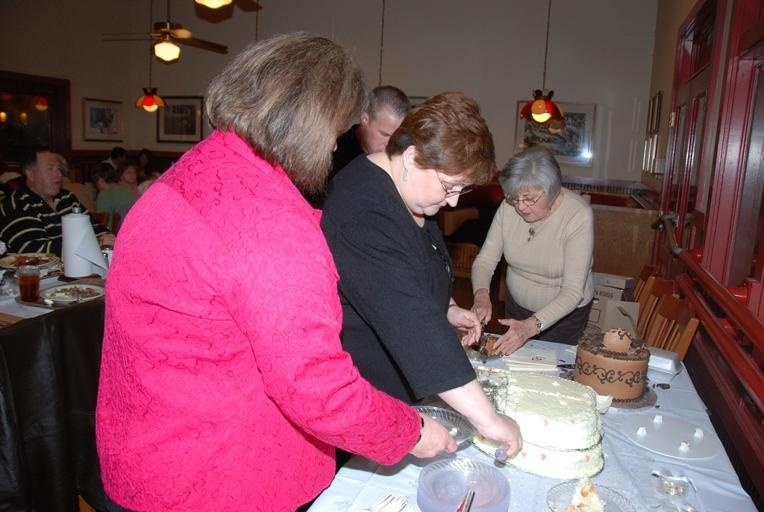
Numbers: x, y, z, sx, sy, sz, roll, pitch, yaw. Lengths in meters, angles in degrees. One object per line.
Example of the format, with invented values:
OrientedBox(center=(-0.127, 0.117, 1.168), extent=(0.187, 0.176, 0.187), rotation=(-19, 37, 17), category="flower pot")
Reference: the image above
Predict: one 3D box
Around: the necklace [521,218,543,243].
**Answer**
OrientedBox(center=(0.777, -0.134, 2.730), extent=(0.032, 0.099, 0.066), rotation=(9, -2, -40), category="necklace")

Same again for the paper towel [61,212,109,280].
OrientedBox(center=(-1.624, -0.059, 2.918), extent=(0.231, 0.371, 0.264), rotation=(-3, 22, -32), category="paper towel")

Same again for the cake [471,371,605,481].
OrientedBox(center=(0.568, 0.568, 1.707), extent=(0.340, 0.135, 0.364), rotation=(-3, 2, 1), category="cake")

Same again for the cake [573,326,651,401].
OrientedBox(center=(0.870, 0.381, 1.971), extent=(0.236, 0.254, 0.233), rotation=(4, 18, 23), category="cake")

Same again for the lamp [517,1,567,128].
OrientedBox(center=(2.060, -2.580, 6.669), extent=(0.543, 1.782, 2.160), rotation=(2, 12, 16), category="lamp")

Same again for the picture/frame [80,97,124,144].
OrientedBox(center=(-4.866, -2.391, 9.207), extent=(0.984, 0.723, 0.047), rotation=(9, 10, 22), category="picture/frame")

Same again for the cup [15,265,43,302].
OrientedBox(center=(-1.796, 0.138, 2.683), extent=(0.097, 0.167, 0.097), rotation=(4, 9, -1), category="cup")

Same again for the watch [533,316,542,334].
OrientedBox(center=(0.708, 0.315, 2.401), extent=(0.023, 0.064, 0.047), rotation=(-11, 2, 6), category="watch")

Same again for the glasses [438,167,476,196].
OrientedBox(center=(0.226, -0.219, 1.580), extent=(0.079, 0.025, 0.077), rotation=(38, 19, 30), category="glasses")

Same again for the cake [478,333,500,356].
OrientedBox(center=(0.441, 0.369, 2.203), extent=(0.087, 0.087, 0.023), rotation=(14, -14, -40), category="cake")
